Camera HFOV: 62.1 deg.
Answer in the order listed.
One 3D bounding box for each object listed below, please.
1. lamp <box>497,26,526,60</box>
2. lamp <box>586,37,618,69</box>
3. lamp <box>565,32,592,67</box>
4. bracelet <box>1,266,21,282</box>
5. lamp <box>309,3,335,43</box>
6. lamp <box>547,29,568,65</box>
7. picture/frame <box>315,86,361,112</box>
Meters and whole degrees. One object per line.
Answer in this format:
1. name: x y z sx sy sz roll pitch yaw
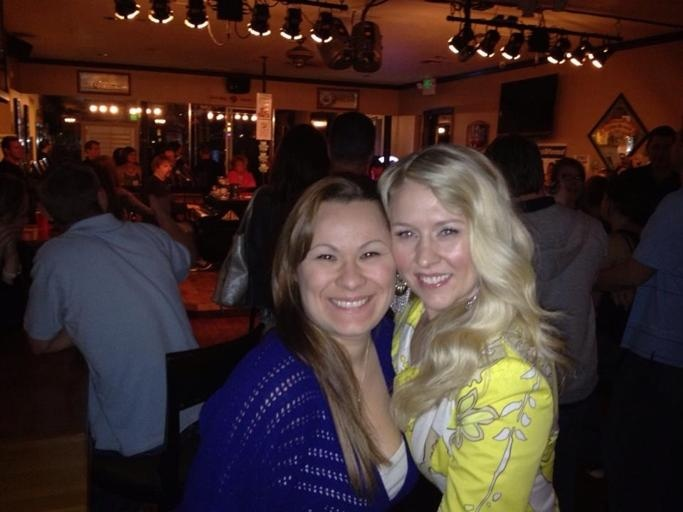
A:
1. lamp: 2.273 -2.822 7.548 0.268 0.406 0.516 4 11 15
2. lamp: 3.526 -2.822 7.986 0.490 0.303 0.269 -4 11 -26
3. lamp: 3.433 -2.950 8.201 0.293 0.447 0.829 5 11 20
4. bracelet: -1.415 0.075 2.428 0.065 0.056 0.075 3 -3 -25
5. lamp: -0.207 -2.601 6.507 0.193 0.325 0.390 -4 11 -25
6. lamp: 2.957 -2.815 7.736 0.253 0.361 0.373 6 12 27
7. picture/frame: -0.077 -3.506 12.817 1.059 0.510 0.097 -3 11 -21
